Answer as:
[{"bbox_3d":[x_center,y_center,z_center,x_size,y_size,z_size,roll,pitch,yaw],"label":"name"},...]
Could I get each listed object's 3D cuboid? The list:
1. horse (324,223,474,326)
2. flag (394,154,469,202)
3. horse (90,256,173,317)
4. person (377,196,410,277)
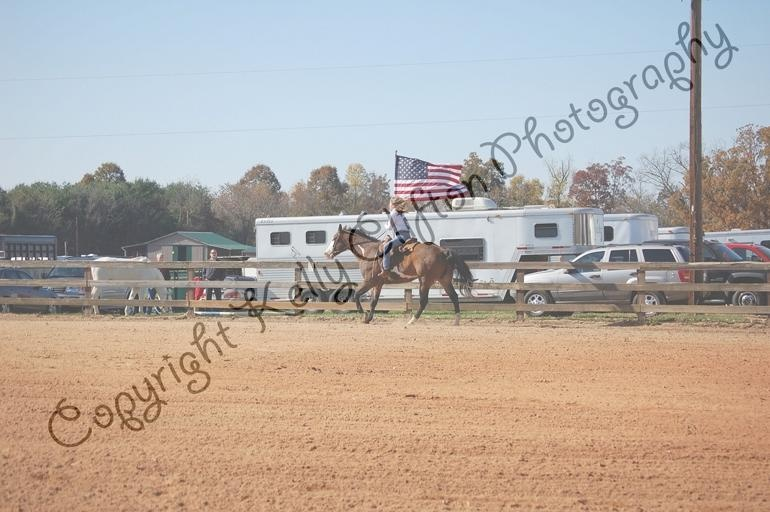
[{"bbox_3d":[0.514,0.542,43.452,4.273,3.056,1.104,0,-3,20],"label":"horse"},{"bbox_3d":[1.455,-2.556,45.818,2.221,1.396,1.515,1,-3,1],"label":"flag"},{"bbox_3d":[-8.697,0.739,47.676,3.389,2.631,1.842,1,-2,-4],"label":"horse"},{"bbox_3d":[0.365,-0.685,43.345,1.128,2.243,0.819,-7,-2,25],"label":"person"}]
